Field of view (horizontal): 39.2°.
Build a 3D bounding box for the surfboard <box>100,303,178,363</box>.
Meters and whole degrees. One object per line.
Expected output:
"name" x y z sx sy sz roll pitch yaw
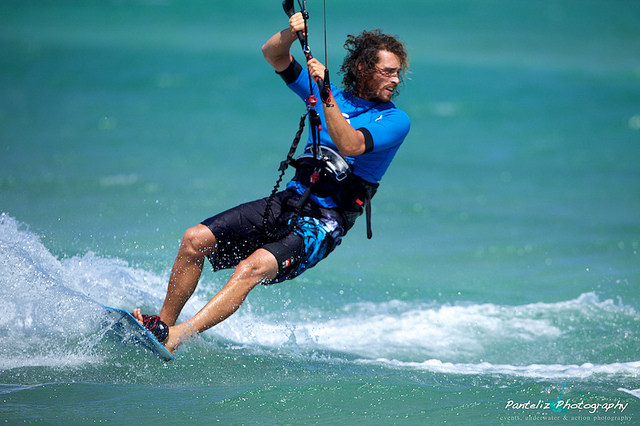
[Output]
"surfboard" -1.753 1.394 9.965 1.299 0.162 0.361 35 -28 -26
